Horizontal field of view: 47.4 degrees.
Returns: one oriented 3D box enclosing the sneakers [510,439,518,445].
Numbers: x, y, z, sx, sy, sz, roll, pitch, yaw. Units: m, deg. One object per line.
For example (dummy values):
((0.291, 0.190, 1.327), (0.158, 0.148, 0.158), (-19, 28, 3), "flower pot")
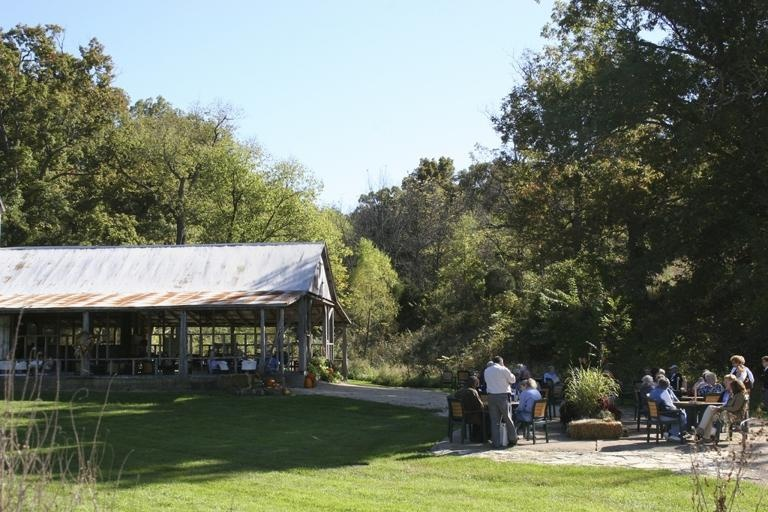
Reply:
((4.228, 6.061, 28.482), (0.210, 0.155, 0.208), (6, -9, -45), "sneakers")
